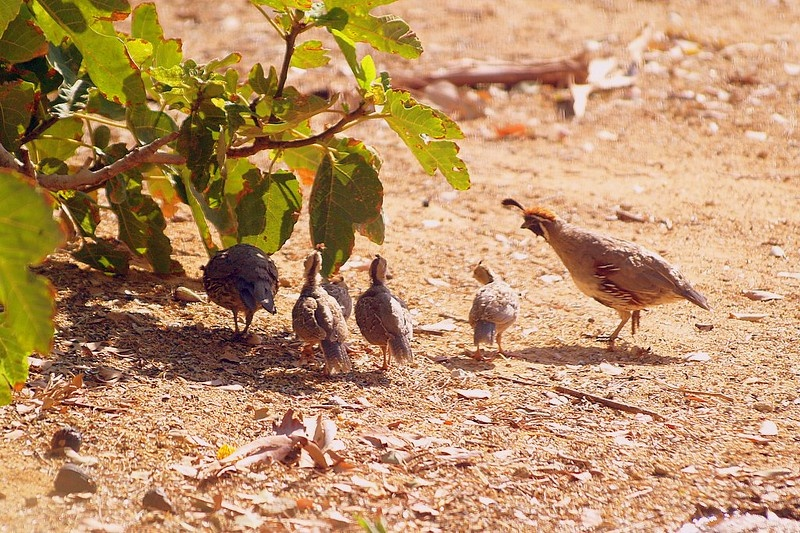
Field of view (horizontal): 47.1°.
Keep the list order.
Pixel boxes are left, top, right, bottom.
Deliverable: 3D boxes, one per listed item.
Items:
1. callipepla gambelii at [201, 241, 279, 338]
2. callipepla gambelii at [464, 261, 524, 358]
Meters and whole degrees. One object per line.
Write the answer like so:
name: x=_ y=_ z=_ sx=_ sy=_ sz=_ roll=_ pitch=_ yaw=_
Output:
callipepla gambelii: x=-1.323 y=0.264 z=7.792 sx=0.608 sy=0.793 sz=0.634 roll=-8 pitch=39 yaw=-10
callipepla gambelii: x=0.812 y=0.409 z=8.160 sx=0.471 sy=0.631 sz=0.946 roll=1 pitch=6 yaw=14
